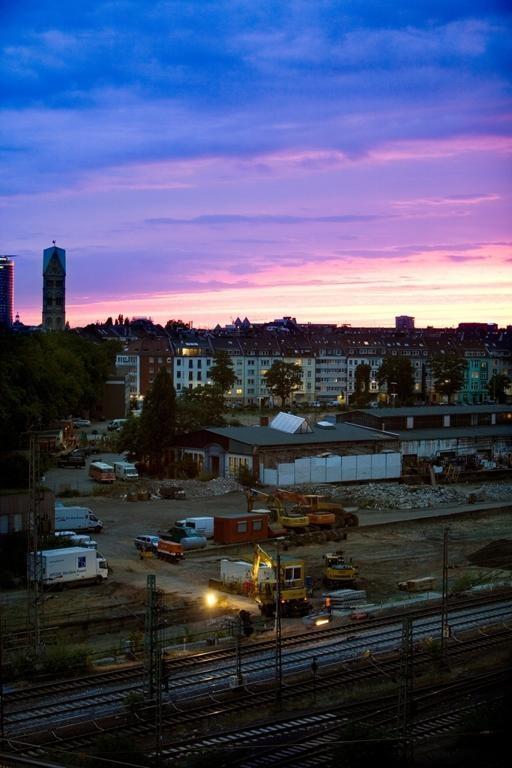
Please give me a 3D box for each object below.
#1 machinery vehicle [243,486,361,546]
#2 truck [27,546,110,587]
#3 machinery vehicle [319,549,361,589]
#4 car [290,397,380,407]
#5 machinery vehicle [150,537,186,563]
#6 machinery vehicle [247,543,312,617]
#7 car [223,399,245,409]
[{"bbox_3d":[1.777,4.980,37.475,4.655,1.950,1.651,-3,7,-14],"label":"machinery vehicle"},{"bbox_3d":[-5.065,5.068,27.623,2.470,1.099,1.164,-3,5,-32],"label":"truck"},{"bbox_3d":[2.374,5.311,28.835,0.762,1.035,0.961,-3,0,-13],"label":"machinery vehicle"},{"bbox_3d":[7.254,1.687,95.568,9.726,0.727,0.892,-1,4,-30],"label":"car"},{"bbox_3d":[-2.602,5.244,31.890,0.498,0.462,0.888,-1,3,-31],"label":"machinery vehicle"},{"bbox_3d":[0.538,5.259,26.426,1.118,1.566,1.871,1,-7,-39],"label":"machinery vehicle"},{"bbox_3d":[-1.912,1.766,93.151,1.639,0.928,7.884,-3,0,-1],"label":"car"}]
